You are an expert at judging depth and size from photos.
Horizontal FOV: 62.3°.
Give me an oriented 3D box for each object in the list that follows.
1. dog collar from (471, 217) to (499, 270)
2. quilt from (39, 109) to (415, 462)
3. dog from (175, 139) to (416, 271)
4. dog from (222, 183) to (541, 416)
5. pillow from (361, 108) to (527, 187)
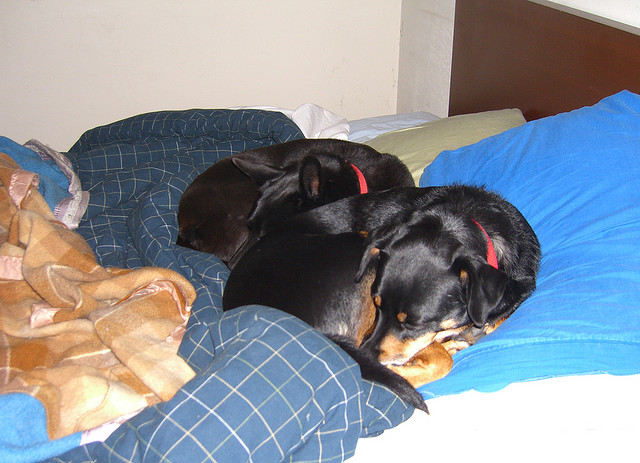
[{"bbox_3d":[0.742,0.083,2.281,0.042,0.151,0.121,-7,-22,-33],"label":"dog collar"},{"bbox_3d":[-0.428,0.247,2.415,1.266,1.916,0.210,-9,-44,-23],"label":"quilt"},{"bbox_3d":[-0.224,-0.249,3.046,1.178,0.546,0.732,-31,6,-2],"label":"dog"},{"bbox_3d":[0.339,0.357,2.428,1.207,0.390,0.919,-22,38,-10],"label":"dog"},{"bbox_3d":[0.785,-0.590,3.343,0.853,0.194,0.598,-22,30,8],"label":"pillow"}]
